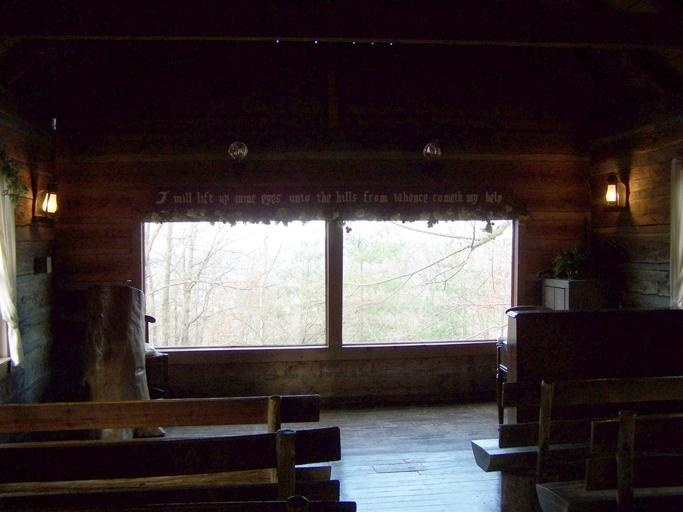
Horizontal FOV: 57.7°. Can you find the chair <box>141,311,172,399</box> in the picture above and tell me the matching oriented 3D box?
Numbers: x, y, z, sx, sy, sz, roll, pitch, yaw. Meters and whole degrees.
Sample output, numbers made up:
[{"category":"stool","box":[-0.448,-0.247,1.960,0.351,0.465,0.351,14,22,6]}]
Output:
[{"category":"chair","box":[-2.310,1.206,7.594,0.444,1.221,0.316,-4,4,-9]}]

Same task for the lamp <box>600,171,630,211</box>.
[{"category":"lamp","box":[3.412,-0.819,7.839,0.259,0.472,0.387,-1,9,-13]}]

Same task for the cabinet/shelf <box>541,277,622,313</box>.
[{"category":"cabinet/shelf","box":[2.941,0.546,7.894,0.923,0.477,0.859,-1,4,1]}]

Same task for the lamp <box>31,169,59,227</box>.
[{"category":"lamp","box":[-3.424,-0.640,7.281,0.236,0.619,0.632,-1,9,-14]}]
